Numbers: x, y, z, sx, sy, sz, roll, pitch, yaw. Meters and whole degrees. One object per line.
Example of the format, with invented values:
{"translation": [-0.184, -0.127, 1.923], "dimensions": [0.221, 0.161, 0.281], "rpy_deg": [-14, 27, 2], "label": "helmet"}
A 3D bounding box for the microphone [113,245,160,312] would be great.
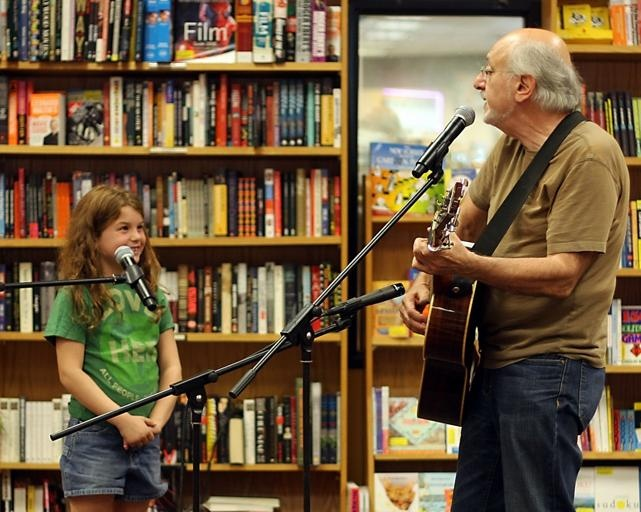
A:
{"translation": [-0.676, 0.072, 4.410], "dimensions": [0.100, 0.330, 0.089], "rpy_deg": [-25, -33, -11], "label": "microphone"}

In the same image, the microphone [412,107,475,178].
{"translation": [0.539, -0.511, 5.356], "dimensions": [0.128, 0.426, 0.139], "rpy_deg": [32, -12, 39], "label": "microphone"}

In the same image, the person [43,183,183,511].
{"translation": [-0.847, 0.369, 4.876], "dimensions": [0.539, 1.332, 0.406], "rpy_deg": [0, 0, -11], "label": "person"}

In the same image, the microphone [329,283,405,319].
{"translation": [0.199, 0.190, 5.089], "dimensions": [0.388, 0.067, 0.078], "rpy_deg": [-19, 43, -8], "label": "microphone"}

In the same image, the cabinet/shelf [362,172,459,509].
{"translation": [0.394, 0.418, 5.313], "dimensions": [0.520, 1.480, 1.560], "rpy_deg": [-1, -2, 5], "label": "cabinet/shelf"}
